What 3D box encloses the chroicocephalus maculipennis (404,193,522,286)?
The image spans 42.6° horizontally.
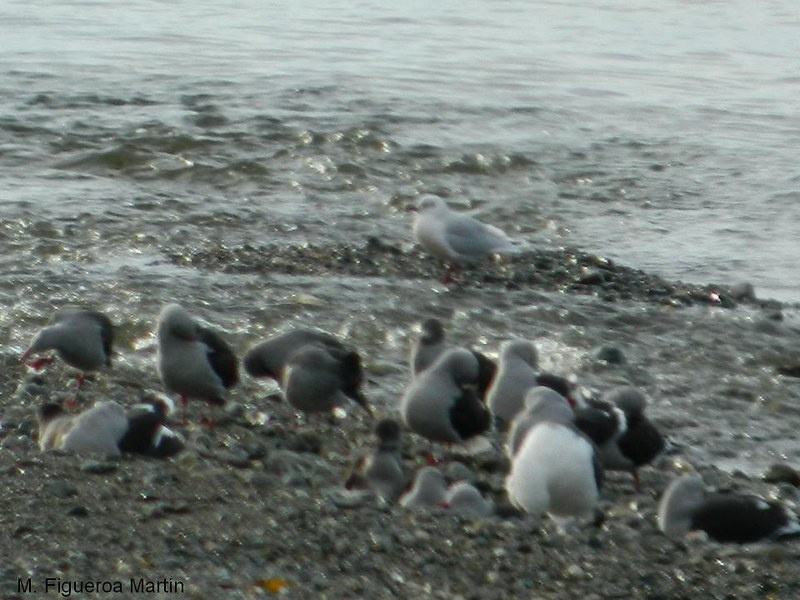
[{"bbox_3d":[0.675,-0.696,11.223,1.472,0.714,0.640,4,16,-20],"label":"chroicocephalus maculipennis"}]
